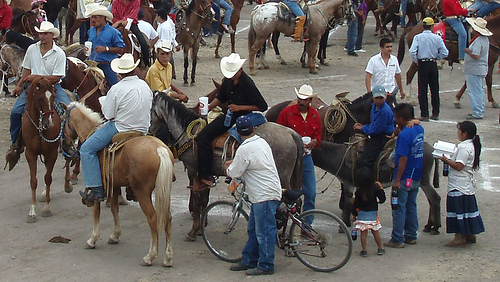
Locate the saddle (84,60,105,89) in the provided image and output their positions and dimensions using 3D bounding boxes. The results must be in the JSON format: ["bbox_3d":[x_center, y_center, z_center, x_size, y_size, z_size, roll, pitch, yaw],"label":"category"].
[{"bbox_3d":[-4.398,-1.924,16.692,0.288,0.780,0.577,-28,-2,26],"label":"saddle"}]

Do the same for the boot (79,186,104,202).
[{"bbox_3d":[-3.571,1.230,13.388,0.612,0.262,0.189,12,-1,17],"label":"boot"}]

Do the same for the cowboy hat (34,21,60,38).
[{"bbox_3d":[-5.180,-2.886,15.078,0.468,0.199,0.506,4,-7,6],"label":"cowboy hat"}]

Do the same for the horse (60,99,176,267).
[{"bbox_3d":[-3.343,0.967,14.273,4.429,3.368,1.140,6,7,39],"label":"horse"}]

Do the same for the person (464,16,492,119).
[{"bbox_3d":[7.703,-2.462,19.791,0.813,3.429,0.931,1,6,20],"label":"person"}]

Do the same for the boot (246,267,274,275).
[{"bbox_3d":[0.224,2.797,12.694,0.556,0.201,0.182,3,0,0],"label":"boot"}]

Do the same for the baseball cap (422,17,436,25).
[{"bbox_3d":[5.987,-4.019,19.640,0.318,0.267,0.471,1,6,16],"label":"baseball cap"}]

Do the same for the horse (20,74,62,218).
[{"bbox_3d":[-5.289,0.121,14.826,0.938,3.511,1.019,-3,6,-19],"label":"horse"}]

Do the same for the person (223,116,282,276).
[{"bbox_3d":[0.135,1.197,12.719,1.112,3.416,0.514,-1,6,3],"label":"person"}]

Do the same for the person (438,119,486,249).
[{"bbox_3d":[5.026,1.022,13.815,0.989,2.958,0.478,-2,6,-4],"label":"person"}]

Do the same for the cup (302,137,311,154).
[{"bbox_3d":[1.341,0.108,13.918,0.327,0.363,0.290,-3,39,2],"label":"cup"}]

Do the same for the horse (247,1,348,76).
[{"bbox_3d":[2.070,-4.395,25.134,4.432,3.102,2.498,-2,6,-8],"label":"horse"}]

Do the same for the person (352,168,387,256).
[{"bbox_3d":[2.740,1.612,13.532,0.730,2.017,0.536,-1,6,-2],"label":"person"}]

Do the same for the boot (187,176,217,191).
[{"bbox_3d":[-1.175,1.008,13.879,0.746,0.296,0.270,-8,-2,16],"label":"boot"}]

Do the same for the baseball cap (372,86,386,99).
[{"bbox_3d":[3.084,-1.161,13.936,0.302,0.304,0.232,0,6,6],"label":"baseball cap"}]
